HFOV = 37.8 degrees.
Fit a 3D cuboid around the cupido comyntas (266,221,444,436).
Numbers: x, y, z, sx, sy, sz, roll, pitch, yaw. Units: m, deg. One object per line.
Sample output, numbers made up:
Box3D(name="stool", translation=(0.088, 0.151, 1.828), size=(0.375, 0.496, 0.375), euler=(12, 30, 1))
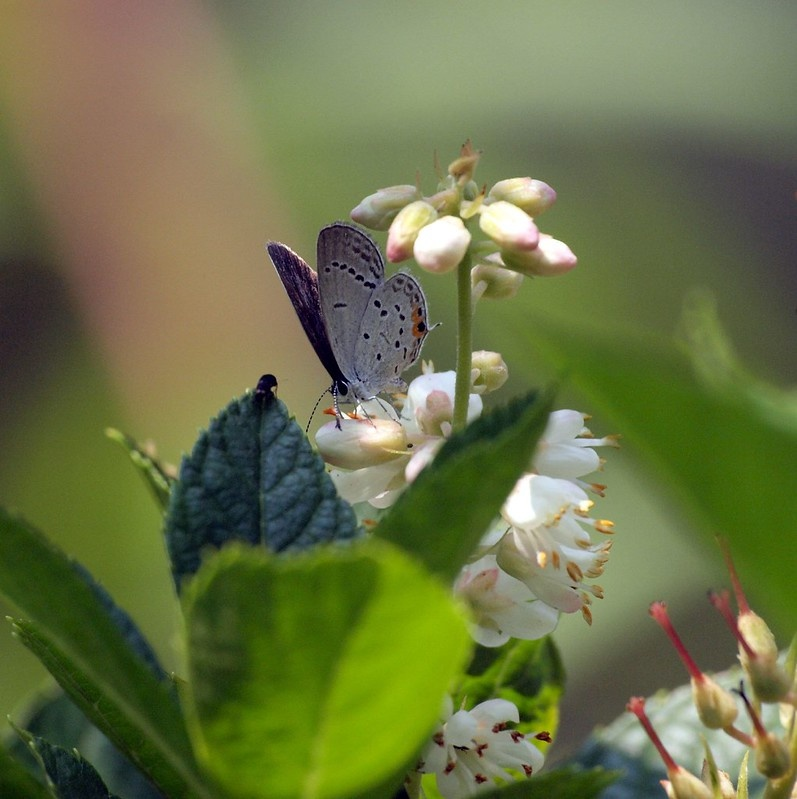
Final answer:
Box3D(name="cupido comyntas", translation=(-0.075, -0.032, 1.047), size=(0.152, 0.176, 0.215), euler=(-7, -5, -16))
